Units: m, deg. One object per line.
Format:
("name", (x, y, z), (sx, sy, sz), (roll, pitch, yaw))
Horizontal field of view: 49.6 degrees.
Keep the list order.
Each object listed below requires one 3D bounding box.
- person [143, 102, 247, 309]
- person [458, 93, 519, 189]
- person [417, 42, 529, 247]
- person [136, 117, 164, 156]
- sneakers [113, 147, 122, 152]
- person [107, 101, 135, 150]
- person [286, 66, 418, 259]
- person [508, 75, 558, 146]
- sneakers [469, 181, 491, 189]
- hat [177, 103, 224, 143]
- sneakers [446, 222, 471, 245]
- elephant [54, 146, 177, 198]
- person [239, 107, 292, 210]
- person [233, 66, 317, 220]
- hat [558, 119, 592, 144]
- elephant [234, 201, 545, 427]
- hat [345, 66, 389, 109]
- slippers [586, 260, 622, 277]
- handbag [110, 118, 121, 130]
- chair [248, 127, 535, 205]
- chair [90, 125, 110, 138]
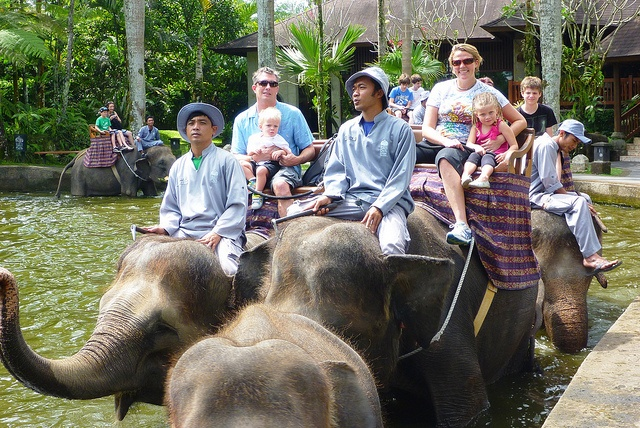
("person", (-0.955, -0.198, 5.279), (0.762, 1.248, 0.714), (-1, 11, 8))
("person", (1.342, -0.592, 5.426), (0.399, 0.739, 0.603), (1, 8, 17))
("person", (1.117, -0.608, 5.527), (1.052, 1.612, 1.233), (0, 7, 10))
("person", (-3.760, -1.685, 15.139), (0.621, 0.879, 0.661), (2, 0, 27))
("sneakers", (-4.357, -1.381, 14.860), (0.072, 0.089, 0.181), (-4, 5, -42))
("person", (-4.469, -1.922, 15.132), (0.397, 1.252, 0.686), (-14, 6, -1))
("person", (0.328, -0.430, 4.961), (1.000, 1.226, 0.728), (8, 17, 41))
("person", (2.313, -1.080, 7.512), (0.526, 0.783, 0.465), (-3, 7, 29))
("sneakers", (1.216, -0.208, 5.233), (0.127, 0.059, 0.063), (4, -3, -20))
("hat", (-0.949, -0.721, 5.293), (0.349, 0.098, 0.383), (-18, -20, -8))
("sneakers", (1.033, 0.138, 5.032), (0.095, 0.135, 0.262), (-9, -15, 35))
("elephant", (-4.242, -0.893, 15.109), (2.486, 1.426, 1.187), (-7, 6, -6))
("person", (-0.460, -0.481, 5.724), (0.436, 0.800, 0.452), (4, 6, -21))
("person", (-0.407, -0.537, 5.819), (0.687, 1.415, 0.819), (0, 3, -1))
("hat", (2.608, -0.867, 7.105), (0.325, 0.179, 0.215), (23, 7, 7))
("elephant", (0.521, 0.694, 5.045), (1.104, 1.381, 2.347), (-4, 5, 42))
("hat", (0.341, -0.903, 4.954), (0.298, 0.298, 0.294), (-1, 7, 2))
("slippers", (2.769, 0.526, 6.709), (0.357, 0.098, 0.131), (-26, -9, 39))
("handbag", (-4.464, -1.963, 15.070), (0.119, 0.292, 0.093), (-34, 58, -27))
("chair", (0.423, -0.323, 5.572), (1.513, 0.506, 0.966), (-1, 7, -6))
("chair", (-4.788, -1.755, 14.983), (0.424, 0.292, 0.353), (0, 3, 4))
